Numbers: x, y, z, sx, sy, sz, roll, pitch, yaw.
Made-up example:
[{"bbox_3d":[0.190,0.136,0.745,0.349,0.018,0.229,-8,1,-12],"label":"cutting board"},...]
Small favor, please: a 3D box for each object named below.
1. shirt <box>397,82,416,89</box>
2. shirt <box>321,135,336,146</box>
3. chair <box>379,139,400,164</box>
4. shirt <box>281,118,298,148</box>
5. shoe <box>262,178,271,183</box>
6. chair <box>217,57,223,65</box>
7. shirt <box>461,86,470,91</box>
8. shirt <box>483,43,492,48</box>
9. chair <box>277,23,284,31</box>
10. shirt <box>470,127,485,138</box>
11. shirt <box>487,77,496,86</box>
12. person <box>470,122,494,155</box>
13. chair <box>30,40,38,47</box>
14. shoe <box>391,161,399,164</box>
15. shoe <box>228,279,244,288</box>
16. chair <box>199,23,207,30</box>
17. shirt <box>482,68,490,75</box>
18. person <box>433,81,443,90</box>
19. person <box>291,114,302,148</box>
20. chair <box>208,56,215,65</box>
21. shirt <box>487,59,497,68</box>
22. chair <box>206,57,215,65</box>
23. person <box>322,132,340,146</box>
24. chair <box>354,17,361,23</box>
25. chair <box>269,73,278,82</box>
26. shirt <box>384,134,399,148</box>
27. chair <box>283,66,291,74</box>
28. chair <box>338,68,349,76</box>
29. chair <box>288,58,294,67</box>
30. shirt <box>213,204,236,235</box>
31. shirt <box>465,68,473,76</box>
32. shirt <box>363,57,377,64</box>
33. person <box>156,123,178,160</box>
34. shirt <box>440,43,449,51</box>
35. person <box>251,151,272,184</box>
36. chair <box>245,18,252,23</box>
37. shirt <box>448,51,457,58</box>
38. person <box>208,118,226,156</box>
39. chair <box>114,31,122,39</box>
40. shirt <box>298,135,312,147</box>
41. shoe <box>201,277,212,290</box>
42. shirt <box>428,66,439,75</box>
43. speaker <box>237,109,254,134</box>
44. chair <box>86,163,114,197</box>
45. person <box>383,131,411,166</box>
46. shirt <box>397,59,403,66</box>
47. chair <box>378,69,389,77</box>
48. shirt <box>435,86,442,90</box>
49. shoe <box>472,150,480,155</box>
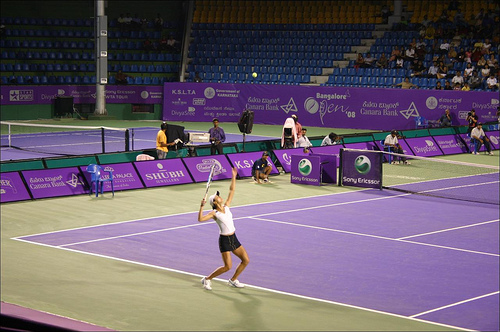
[{"bbox_3d":[11.100,-5.742,34.439,0.983,0.458,1.787,3,12,10],"label":"shirt"},{"bbox_3d":[3.854,-1.250,23.748,0.687,0.418,0.570,3,12,9],"label":"shirt"},{"bbox_3d":[7.195,-0.761,25.101,0.853,0.928,1.821,2,12,3],"label":"chair"},{"bbox_3d":[1.954,-1.647,23.345,0.845,1.319,0.352,-2,14,5],"label":"shirt"},{"bbox_3d":[0.744,0.590,20.298,0.472,0.113,0.284,-9,16,-42],"label":"shoe"},{"bbox_3d":[-2.457,-8.768,40.372,0.548,0.521,0.368,1,12,-1],"label":"chair"},{"bbox_3d":[14.415,-5.193,32.455,0.435,0.239,0.695,-1,19,16],"label":"shirt"},{"bbox_3d":[16.844,-8.585,34.500,0.541,0.350,0.356,6,13,22],"label":"shirt"},{"bbox_3d":[2.560,-11.688,40.842,0.543,0.604,0.650,1,12,2],"label":"chair"},{"bbox_3d":[12.851,-1.901,27.725,1.022,0.801,0.510,0,3,-2],"label":"shirt"},{"bbox_3d":[15.953,-5.600,32.076,0.407,0.497,0.205,2,-18,19],"label":"shirt"},{"bbox_3d":[13.100,-1.589,27.539,1.042,1.722,1.177,-2,13,-12],"label":"person"},{"bbox_3d":[-17.830,-10.103,40.106,0.571,0.489,0.271,-4,14,-22],"label":"chair"},{"bbox_3d":[7.272,-0.195,24.418,0.431,0.115,0.117,-3,13,-17],"label":"shoe"},{"bbox_3d":[-0.301,2.469,10.278,0.358,0.148,0.121,2,10,6],"label":"shoe"},{"bbox_3d":[-4.031,-12.006,41.719,0.587,0.409,0.552,2,15,7],"label":"chair"},{"bbox_3d":[15.962,-6.422,32.885,0.471,0.436,0.168,-2,2,4],"label":"shirt"},{"bbox_3d":[12.961,-5.579,33.457,0.617,0.570,1.863,6,13,20],"label":"person"},{"bbox_3d":[2.278,-1.731,23.551,0.474,1.526,1.160,2,13,6],"label":"person"},{"bbox_3d":[-3.200,-8.794,40.500,0.714,0.668,0.534,6,11,26],"label":"chair"},{"bbox_3d":[16.487,-7.056,33.379,0.531,0.493,0.215,0,-9,6],"label":"shirt"},{"bbox_3d":[-3.262,-8.776,40.496,0.542,0.497,0.498,1,8,5],"label":"chair"},{"bbox_3d":[3.957,-1.333,23.767,0.917,0.573,0.771,-1,12,-9],"label":"person"},{"bbox_3d":[8.865,-12.107,40.194,0.461,0.431,0.209,4,1,20],"label":"chair"},{"bbox_3d":[1.952,-7.128,38.927,0.545,0.649,0.442,1,12,-1],"label":"chair"},{"bbox_3d":[7.271,-1.272,24.969,0.728,0.556,0.391,5,15,12],"label":"shirt"},{"bbox_3d":[3.006,-7.753,39.033,0.513,0.623,0.465,3,13,7],"label":"chair"},{"bbox_3d":[7.259,-7.282,37.512,0.703,0.563,0.379,3,13,6],"label":"chair"},{"bbox_3d":[3.305,-8.405,39.223,0.514,0.660,0.420,3,13,10],"label":"chair"},{"bbox_3d":[-0.546,1.104,10.109,0.392,0.549,0.450,0,12,-5],"label":"shirt"},{"bbox_3d":[14.830,-6.401,32.976,0.213,0.491,0.546,-10,16,-41],"label":"shirt"},{"bbox_3d":[9.150,-8.072,37.156,0.784,0.415,0.430,-3,13,-18],"label":"shirt"},{"bbox_3d":[-3.571,-1.066,20.285,0.728,1.477,1.242,3,12,7],"label":"person"},{"bbox_3d":[14.205,-8.723,35.499,0.596,0.531,0.203,3,-5,16],"label":"shirt"},{"bbox_3d":[0.559,-0.022,20.359,0.840,1.286,0.791,-3,13,-18],"label":"person"},{"bbox_3d":[-0.146,-12.628,42.032,0.598,0.379,0.327,0,8,-3],"label":"chair"},{"bbox_3d":[14.612,-8.113,35.117,0.554,0.508,0.311,5,2,32],"label":"shirt"},{"bbox_3d":[-1.511,-1.406,22.287,0.696,1.427,1.731,0,12,-5],"label":"person"},{"bbox_3d":[-11.320,-11.253,41.651,0.624,0.579,0.374,-2,13,-15],"label":"chair"},{"bbox_3d":[2.676,-1.149,23.826,0.454,0.705,0.784,-1,1,38],"label":"shirt"},{"bbox_3d":[-0.912,2.447,10.226,0.124,0.145,0.354,0,0,-37],"label":"shoe"},{"bbox_3d":[13.112,-6.841,34.711,0.385,0.623,0.672,4,0,-42],"label":"shirt"},{"bbox_3d":[-0.216,-2.196,24.201,0.687,1.181,1.657,1,12,-1],"label":"speaker"},{"bbox_3d":[-5.425,0.459,17.666,0.859,1.160,0.875,-3,13,-16],"label":"chair"},{"bbox_3d":[7.438,-1.009,24.803,1.224,1.618,1.386,4,13,14],"label":"person"},{"bbox_3d":[11.155,-7.733,36.096,0.421,0.464,0.213,2,13,2],"label":"shirt"},{"bbox_3d":[10.079,-6.992,36.403,0.607,0.547,0.379,2,13,6],"label":"chair"},{"bbox_3d":[12.961,-5.406,33.425,0.444,0.238,1.725,5,12,19],"label":"shirt"},{"bbox_3d":[12.876,-0.786,27.678,0.405,0.164,0.139,4,8,41],"label":"shoe"}]
